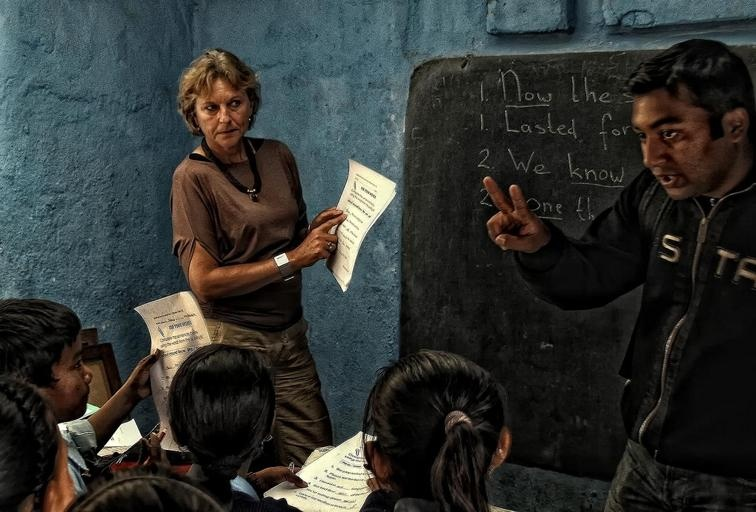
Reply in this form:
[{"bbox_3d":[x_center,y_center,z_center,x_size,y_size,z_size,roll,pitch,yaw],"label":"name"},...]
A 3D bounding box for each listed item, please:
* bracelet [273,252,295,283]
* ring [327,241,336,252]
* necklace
[{"bbox_3d":[-0.358,0.042,2.561,0.067,0.109,0.089,0,6,16],"label":"bracelet"},{"bbox_3d":[-0.172,-0.035,2.545,0.034,0.044,0.040,0,6,13],"label":"ring"},{"bbox_3d":[-0.572,-0.346,2.639,0.079,0.255,0.207,-28,0,42],"label":"necklace"}]
